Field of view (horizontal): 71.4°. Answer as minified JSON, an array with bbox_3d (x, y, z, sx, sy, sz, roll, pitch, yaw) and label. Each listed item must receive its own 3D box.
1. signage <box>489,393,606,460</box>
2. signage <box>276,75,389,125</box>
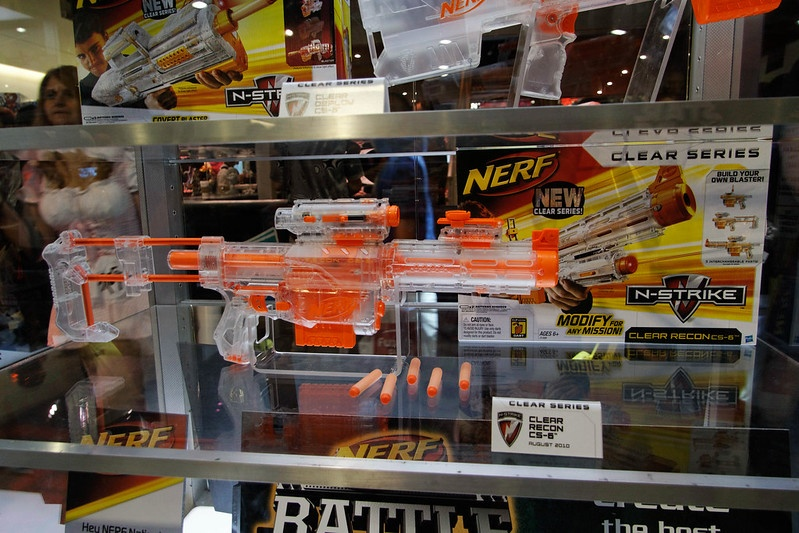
[{"bbox_3d":[0.355,0.392,1.364,0.267,0.131,0.029,2,-3,7],"label":"signage"},{"bbox_3d":[-0.173,-0.393,1.363,0.263,0.119,0.061,2,-12,8],"label":"signage"}]
